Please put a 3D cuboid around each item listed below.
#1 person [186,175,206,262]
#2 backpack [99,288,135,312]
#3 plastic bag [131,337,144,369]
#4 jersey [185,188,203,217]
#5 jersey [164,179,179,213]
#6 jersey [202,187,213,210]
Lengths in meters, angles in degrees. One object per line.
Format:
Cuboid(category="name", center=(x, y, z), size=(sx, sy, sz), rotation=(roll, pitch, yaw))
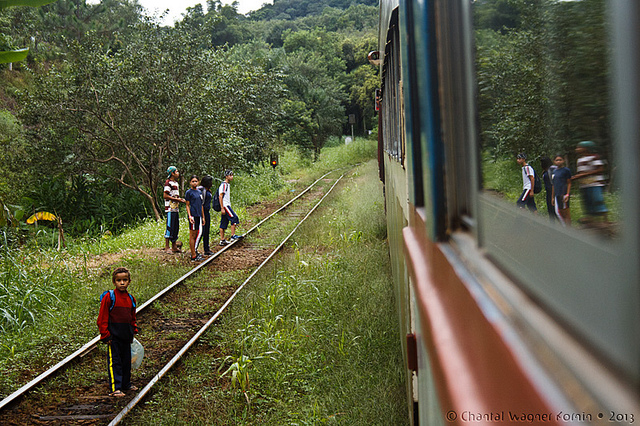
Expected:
Cuboid(category="person", center=(-2.717, 0.128, 10.778), size=(0.410, 1.900, 0.666), rotation=(-4, 9, -15))
Cuboid(category="backpack", center=(-2.118, 0.918, 5.126), size=(0.313, 0.240, 0.168), rotation=(-7, 10, -23))
Cuboid(category="plastic bag", center=(-2.024, 1.565, 5.396), size=(0.135, 0.378, 0.106), rotation=(-9, 11, -36))
Cuboid(category="jersey", center=(-2.696, -0.206, 10.596), size=(0.341, 0.599, 0.247), rotation=(-5, 9, -16))
Cuboid(category="jersey", center=(-3.283, -0.344, 10.868), size=(0.255, 0.788, 0.551), rotation=(-2, -1, 18))
Cuboid(category="jersey", center=(-2.526, -0.343, 11.016), size=(0.279, 0.585, 0.556), rotation=(0, 4, -4))
